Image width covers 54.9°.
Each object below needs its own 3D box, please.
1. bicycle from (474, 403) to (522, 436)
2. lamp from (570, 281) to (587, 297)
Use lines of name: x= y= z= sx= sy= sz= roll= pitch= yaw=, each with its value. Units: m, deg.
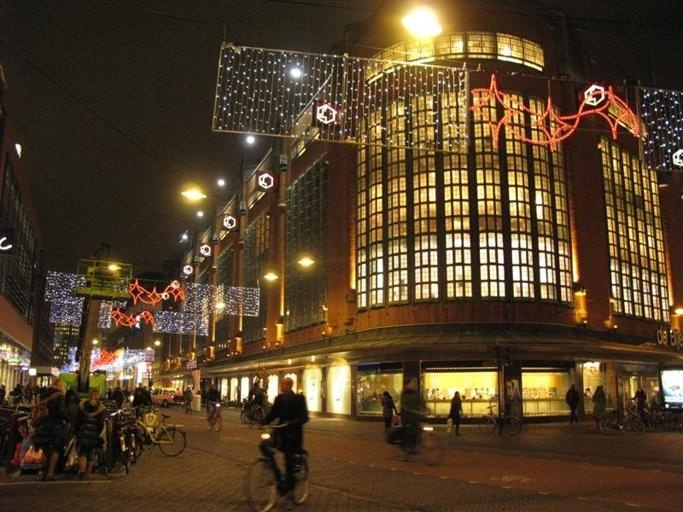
bicycle: x=7.262 y=7.601 z=30.068 sx=1.300 sy=1.124 sz=2.558 roll=4 pitch=-16 yaw=-7
lamp: x=14.938 y=2.083 z=41.250 sx=0.814 sy=0.964 sz=0.808 roll=-1 pitch=2 yaw=-37
